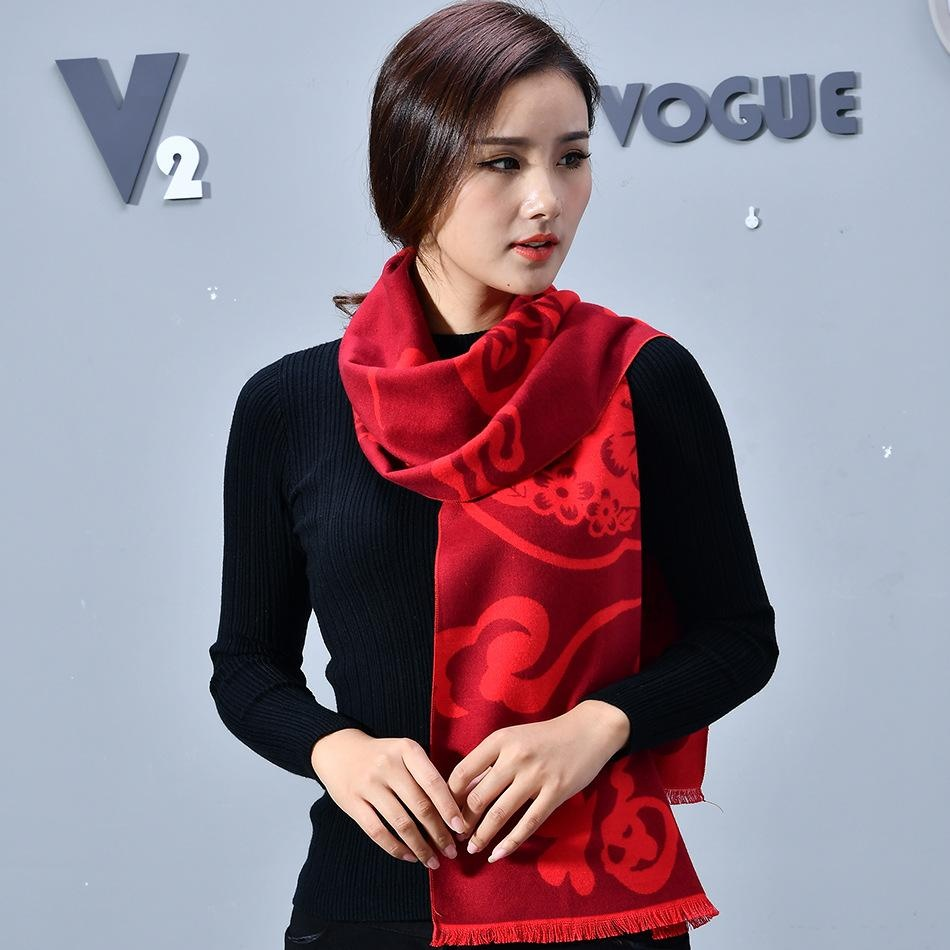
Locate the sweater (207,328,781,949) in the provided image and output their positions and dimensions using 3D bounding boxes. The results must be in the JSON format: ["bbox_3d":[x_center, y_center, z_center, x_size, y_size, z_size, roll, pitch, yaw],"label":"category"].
[{"bbox_3d":[0.016,0.140,1.158,0.603,0.592,0.314,-2,-9,5],"label":"sweater"}]

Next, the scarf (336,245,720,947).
[{"bbox_3d":[0.065,0.097,1.149,0.369,0.561,0.479,2,16,-20],"label":"scarf"}]
